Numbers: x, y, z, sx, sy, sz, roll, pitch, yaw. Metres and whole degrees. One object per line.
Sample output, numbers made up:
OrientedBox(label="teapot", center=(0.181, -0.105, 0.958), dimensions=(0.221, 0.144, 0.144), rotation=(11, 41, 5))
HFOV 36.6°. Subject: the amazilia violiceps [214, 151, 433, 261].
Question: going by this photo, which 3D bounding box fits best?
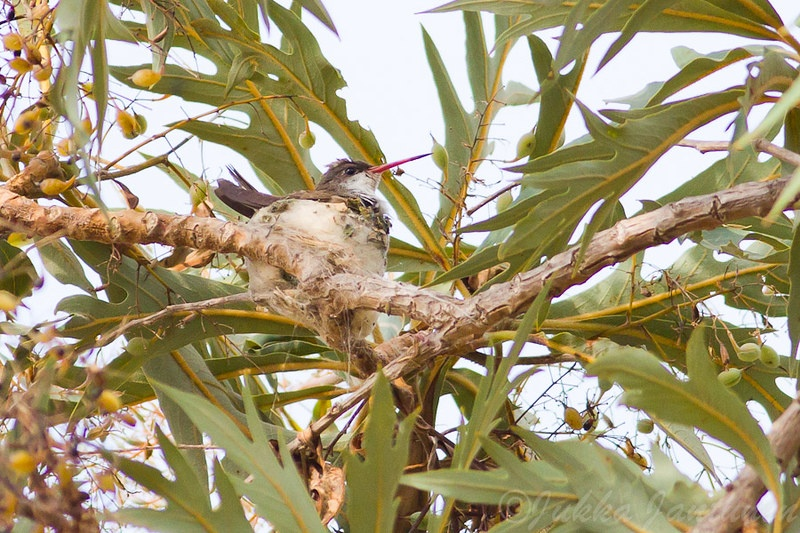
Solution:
OrientedBox(label="amazilia violiceps", center=(-0.288, -0.195, 4.064), dimensions=(0.731, 0.360, 0.255), rotation=(5, -17, 27))
